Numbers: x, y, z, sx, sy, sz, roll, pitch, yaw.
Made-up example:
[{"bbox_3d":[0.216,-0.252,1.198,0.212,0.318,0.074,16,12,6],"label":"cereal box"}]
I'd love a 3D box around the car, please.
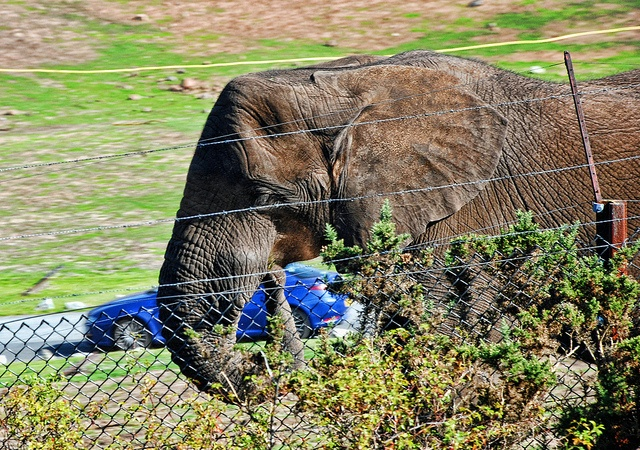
[{"bbox_3d":[-1.391,1.207,17.906,4.498,0.777,1.562,-2,0,1],"label":"car"}]
